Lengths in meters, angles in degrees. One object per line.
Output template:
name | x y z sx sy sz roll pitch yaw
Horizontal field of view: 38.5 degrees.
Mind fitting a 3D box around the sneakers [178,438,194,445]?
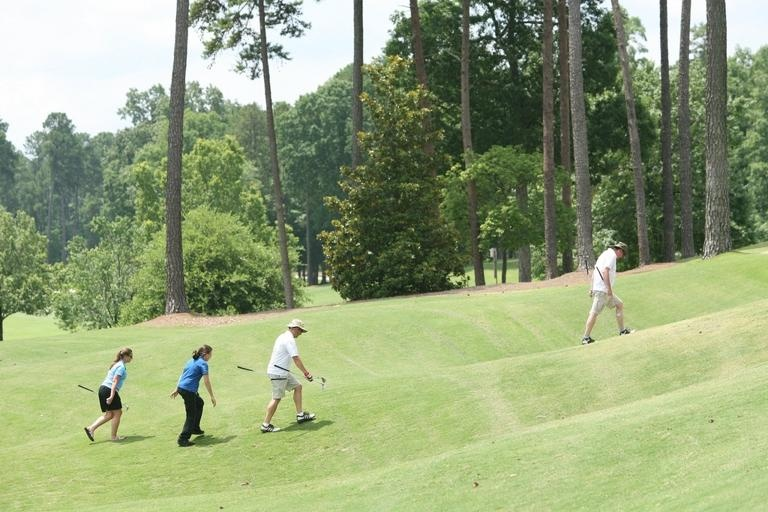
sneakers | -7.438 6.968 41.098 0.569 0.260 0.226 5 -6 -29

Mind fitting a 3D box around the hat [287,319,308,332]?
hat | -3.441 2.786 43.849 0.544 0.206 0.537 32 -15 -27

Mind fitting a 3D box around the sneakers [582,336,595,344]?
sneakers | 8.329 3.379 44.167 0.658 0.281 0.222 -2 -6 23
